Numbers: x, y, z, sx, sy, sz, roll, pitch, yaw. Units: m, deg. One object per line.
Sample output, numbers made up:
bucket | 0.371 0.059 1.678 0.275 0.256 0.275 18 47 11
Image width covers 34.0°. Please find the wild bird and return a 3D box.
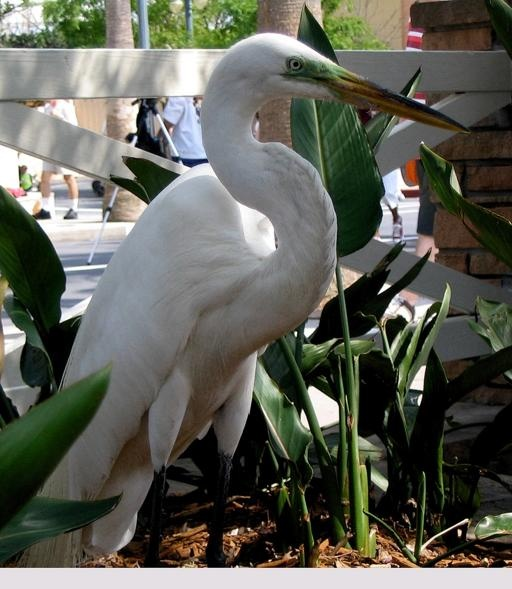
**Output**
wild bird | -0.069 0.072 1.766 0.781 1.170 0.342 1 11 10
